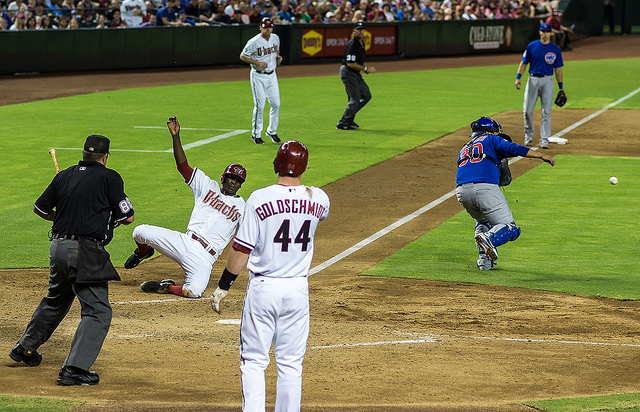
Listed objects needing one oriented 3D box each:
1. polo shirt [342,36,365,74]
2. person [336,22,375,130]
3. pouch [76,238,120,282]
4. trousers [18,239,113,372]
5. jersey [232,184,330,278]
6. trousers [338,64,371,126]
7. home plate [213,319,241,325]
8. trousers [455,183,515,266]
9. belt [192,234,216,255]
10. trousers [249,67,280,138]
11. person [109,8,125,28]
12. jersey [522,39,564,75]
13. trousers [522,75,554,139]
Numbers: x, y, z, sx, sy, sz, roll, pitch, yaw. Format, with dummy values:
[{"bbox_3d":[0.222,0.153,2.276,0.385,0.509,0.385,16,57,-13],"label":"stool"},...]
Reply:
[{"bbox_3d":[0.930,-4.021,28.514,0.533,0.996,0.491,2,15,-2],"label":"polo shirt"},{"bbox_3d":[0.959,-3.448,28.799,0.898,2.963,1.550,3,15,1],"label":"person"},{"bbox_3d":[-3.445,0.822,16.194,0.624,0.637,0.322,0,15,-10],"label":"pouch"},{"bbox_3d":[-3.872,1.517,16.187,1.238,1.976,0.788,9,17,25],"label":"trousers"},{"bbox_3d":[-0.577,0.362,15.131,1.350,1.283,0.537,1,15,-4],"label":"jersey"},{"bbox_3d":[0.961,-2.973,28.931,0.841,1.735,0.712,2,15,-2],"label":"trousers"},{"bbox_3d":[-1.553,1.954,17.974,0.456,0.053,0.220,4,12,13],"label":"home plate"},{"bbox_3d":[3.250,0.352,20.396,1.165,1.523,1.074,1,0,9],"label":"trousers"},{"bbox_3d":[-2.087,0.703,18.985,0.501,0.092,0.148,35,23,5],"label":"belt"},{"bbox_3d":[-1.490,-2.801,27.386,0.782,2.203,0.659,-4,2,-33],"label":"trousers"},{"bbox_3d":[-7.120,-6.489,36.936,0.321,0.628,0.547,14,18,37],"label":"person"},{"bbox_3d":[5.729,-3.728,26.954,0.979,0.801,0.403,4,15,9],"label":"jersey"},{"bbox_3d":[5.675,-2.532,27.204,0.922,1.391,0.909,2,3,14],"label":"trousers"}]
